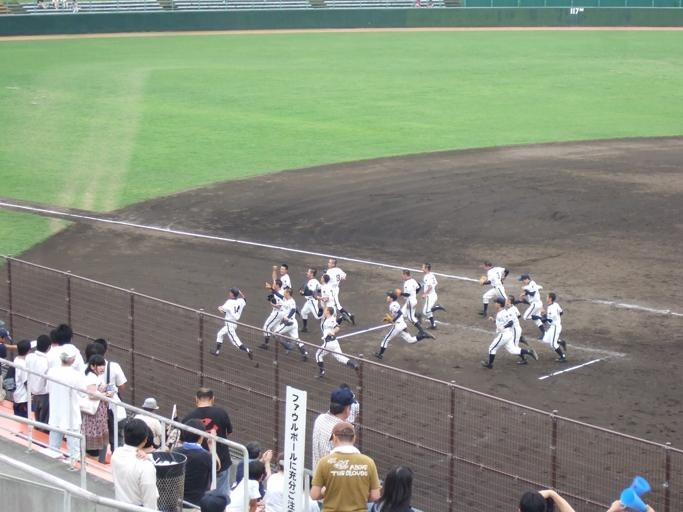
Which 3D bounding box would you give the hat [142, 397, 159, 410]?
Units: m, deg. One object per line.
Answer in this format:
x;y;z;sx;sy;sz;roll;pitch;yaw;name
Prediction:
-5.779;4.511;48.491;0.525;0.223;0.501;3;6;-7;hat

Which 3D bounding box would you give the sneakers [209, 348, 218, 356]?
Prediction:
-4.177;3.187;52.928;0.333;0.195;0.123;24;32;35;sneakers

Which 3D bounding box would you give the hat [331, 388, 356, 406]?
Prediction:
0.013;4.136;47.029;0.576;0.535;0.728;2;14;7;hat

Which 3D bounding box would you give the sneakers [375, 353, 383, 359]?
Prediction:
1.239;3.338;53.561;0.243;0.260;0.105;1;5;24;sneakers
